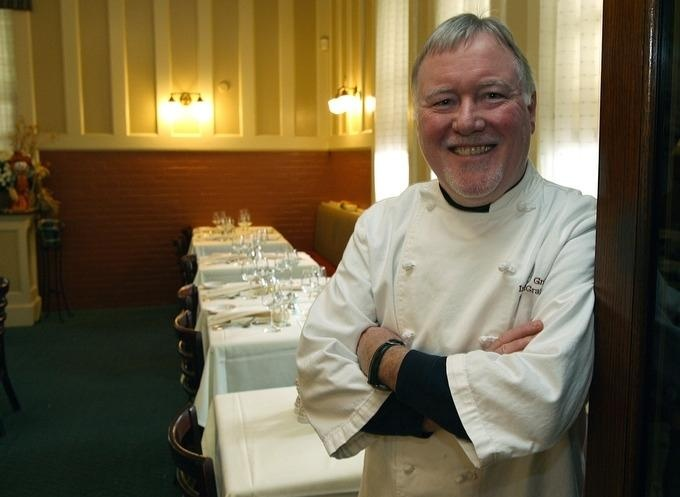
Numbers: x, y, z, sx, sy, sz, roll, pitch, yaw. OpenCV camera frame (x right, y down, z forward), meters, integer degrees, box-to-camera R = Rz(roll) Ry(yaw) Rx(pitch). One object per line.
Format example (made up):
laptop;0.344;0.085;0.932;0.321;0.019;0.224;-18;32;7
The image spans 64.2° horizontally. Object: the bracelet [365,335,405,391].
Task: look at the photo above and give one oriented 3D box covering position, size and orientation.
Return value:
bracelet;0.121;0.289;1.359;0.038;0.107;0.093;18;-22;-10
